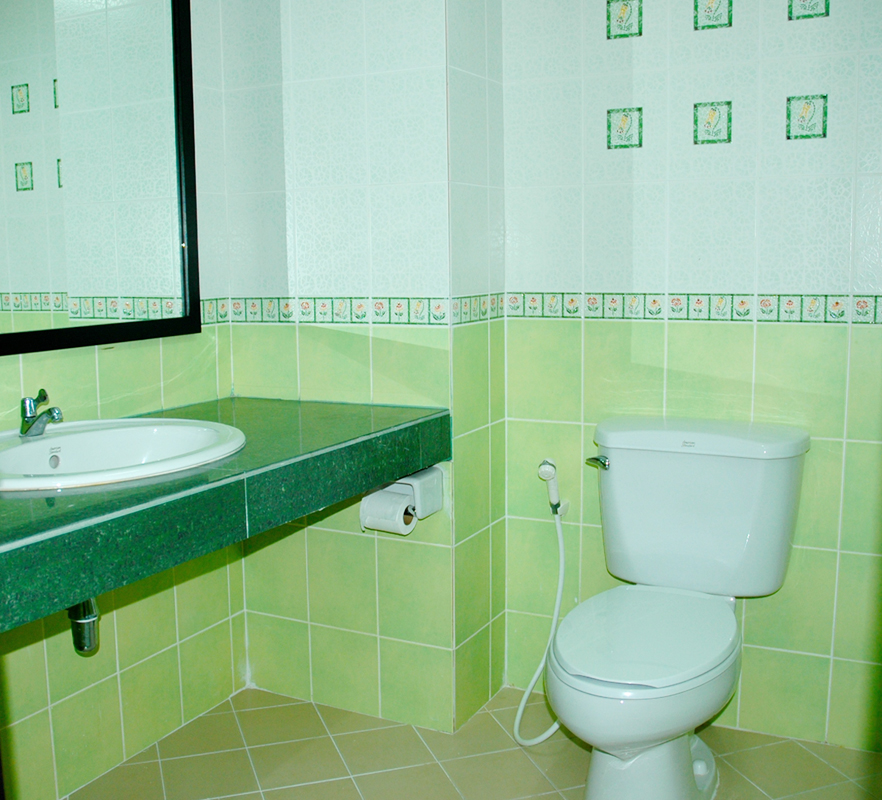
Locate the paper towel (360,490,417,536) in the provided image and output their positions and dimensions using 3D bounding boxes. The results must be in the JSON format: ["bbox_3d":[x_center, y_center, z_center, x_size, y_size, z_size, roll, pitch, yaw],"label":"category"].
[{"bbox_3d":[-0.135,0.290,2.195,0.157,0.105,0.068,5,12,31],"label":"paper towel"}]

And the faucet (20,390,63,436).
[{"bbox_3d":[-0.827,0.025,1.729,0.073,0.111,0.137,-7,12,-30],"label":"faucet"}]
